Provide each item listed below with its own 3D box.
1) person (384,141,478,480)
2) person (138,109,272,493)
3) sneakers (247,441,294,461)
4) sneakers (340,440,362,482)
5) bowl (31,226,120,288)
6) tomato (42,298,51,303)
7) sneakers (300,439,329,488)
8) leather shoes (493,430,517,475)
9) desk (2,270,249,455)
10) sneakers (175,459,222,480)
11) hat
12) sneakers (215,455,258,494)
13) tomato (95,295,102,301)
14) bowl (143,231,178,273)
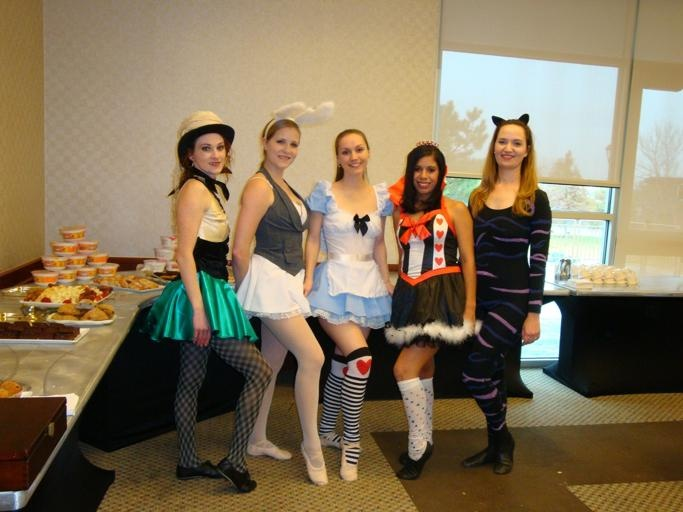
[{"bbox_3d":[0.552,0.328,3.141,0.579,2.006,0.484,3,12,4],"label":"person"},{"bbox_3d":[-0.767,0.266,2.918,0.626,2.116,0.601,-4,14,-25],"label":"person"},{"bbox_3d":[-0.461,1.231,3.343,0.253,0.104,0.120,4,-2,5],"label":"sneakers"},{"bbox_3d":[0.061,1.233,3.109,0.087,0.107,0.265,0,7,-3],"label":"sneakers"},{"bbox_3d":[-1.903,0.032,3.645,0.548,0.312,0.450,2,1,35],"label":"bowl"},{"bbox_3d":[-1.713,0.251,3.010,0.029,0.021,0.029,2,0,-26],"label":"tomato"},{"bbox_3d":[-0.153,1.236,3.117,0.116,0.110,0.315,3,16,-17],"label":"sneakers"},{"bbox_3d":[1.023,1.239,3.281,0.119,0.250,0.349,-6,-9,16],"label":"leather shoes"},{"bbox_3d":[-1.381,0.769,3.896,1.122,1.443,1.586,5,18,12],"label":"desk"},{"bbox_3d":[-0.823,1.245,3.002,0.296,0.111,0.107,1,-6,-6],"label":"sneakers"},{"bbox_3d":[-0.827,-0.709,2.970,0.276,0.136,0.333,-16,-30,-20],"label":"hat"},{"bbox_3d":[-0.598,1.257,2.968,0.295,0.121,0.122,48,-14,-33],"label":"sneakers"},{"bbox_3d":[-1.454,0.245,3.104,0.024,0.025,0.023,-2,45,-4],"label":"tomato"},{"bbox_3d":[-1.381,-0.031,4.032,0.252,0.209,0.308,0,-3,-2],"label":"bowl"}]
